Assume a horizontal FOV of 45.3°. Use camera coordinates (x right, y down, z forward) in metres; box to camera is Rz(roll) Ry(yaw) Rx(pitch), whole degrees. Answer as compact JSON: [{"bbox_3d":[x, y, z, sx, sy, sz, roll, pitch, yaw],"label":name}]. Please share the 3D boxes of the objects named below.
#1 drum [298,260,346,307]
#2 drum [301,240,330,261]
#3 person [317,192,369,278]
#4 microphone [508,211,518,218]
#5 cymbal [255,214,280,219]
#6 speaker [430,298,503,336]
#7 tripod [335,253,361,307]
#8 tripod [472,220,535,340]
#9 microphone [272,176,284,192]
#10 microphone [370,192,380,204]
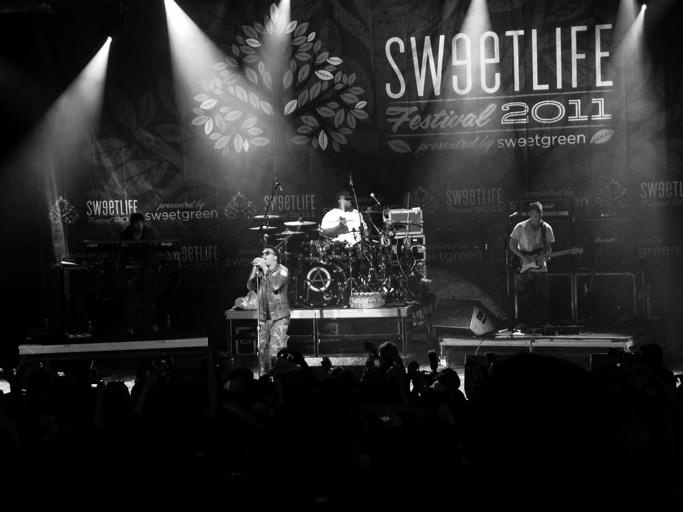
[{"bbox_3d":[-0.254,0.308,10.591,0.721,0.764,0.571,-3,10,3],"label":"drum"},{"bbox_3d":[-0.378,-0.075,10.330,0.152,0.234,0.525,-3,4,-43],"label":"drum"},{"bbox_3d":[0.026,-0.234,10.470,0.694,1.321,0.675,7,-41,-14],"label":"person"},{"bbox_3d":[2.264,-0.558,10.815,0.100,0.024,0.072,-38,23,-26],"label":"microphone"},{"bbox_3d":[-0.968,-0.507,10.637,0.339,0.079,0.993,0,3,-6],"label":"cymbal"},{"bbox_3d":[1.620,0.755,10.541,0.649,0.476,0.745,22,-13,-33],"label":"speaker"},{"bbox_3d":[0.008,0.219,10.373,0.415,0.564,0.331,0,22,11],"label":"tripod"},{"bbox_3d":[2.199,0.323,10.889,0.742,1.519,0.773,2,4,2],"label":"tripod"},{"bbox_3d":[-0.870,-0.971,11.125,0.140,0.210,0.123,3,4,42],"label":"microphone"},{"bbox_3d":[0.417,-0.771,10.922,0.142,0.180,0.315,1,3,13],"label":"microphone"}]
